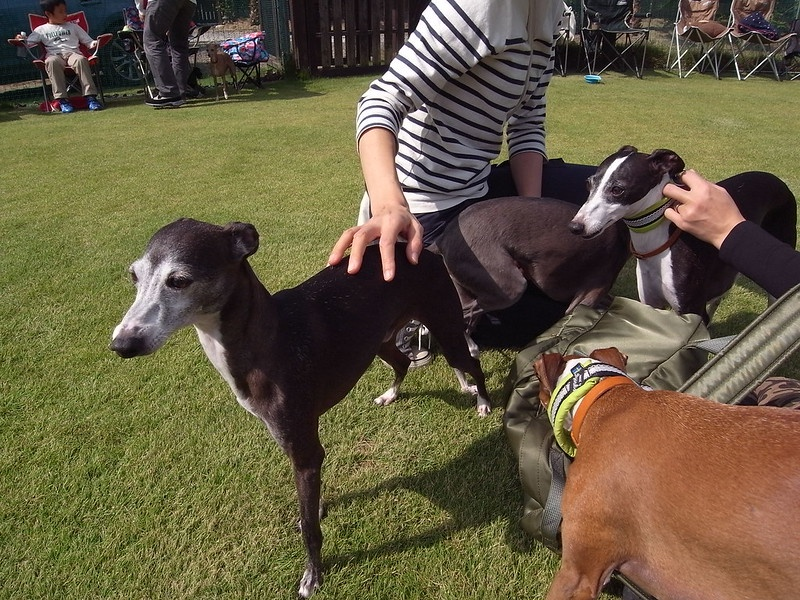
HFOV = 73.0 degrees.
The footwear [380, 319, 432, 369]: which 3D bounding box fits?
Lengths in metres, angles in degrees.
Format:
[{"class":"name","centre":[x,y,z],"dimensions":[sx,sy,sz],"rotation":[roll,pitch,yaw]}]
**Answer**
[{"class":"footwear","centre":[0.061,0.244,3.294],"dimensions":[0.311,0.337,0.172],"rotation":[-16,12,-15]}]
